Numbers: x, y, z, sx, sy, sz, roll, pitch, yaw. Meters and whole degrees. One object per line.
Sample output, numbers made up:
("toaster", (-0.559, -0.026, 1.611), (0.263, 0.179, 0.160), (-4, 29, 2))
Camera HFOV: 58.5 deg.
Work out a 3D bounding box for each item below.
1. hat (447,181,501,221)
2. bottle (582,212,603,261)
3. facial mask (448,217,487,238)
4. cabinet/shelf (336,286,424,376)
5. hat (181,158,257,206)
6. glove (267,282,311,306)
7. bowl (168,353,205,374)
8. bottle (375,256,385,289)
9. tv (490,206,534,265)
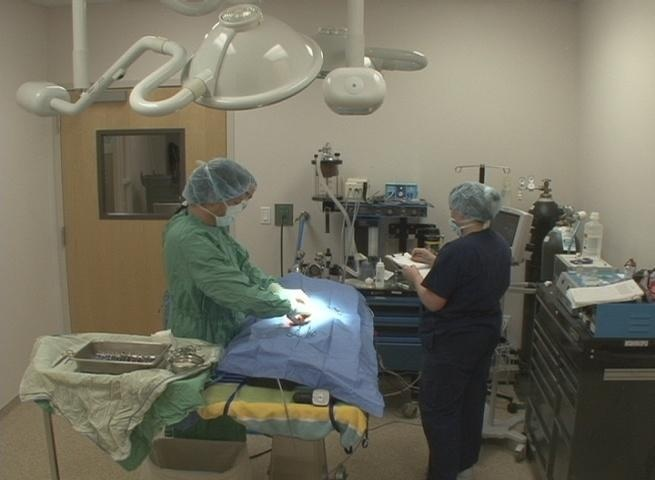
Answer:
("hat", (0.809, -0.213, 3.214), (0.184, 0.187, 0.237), (-1, 3, -27))
("bottle", (1.521, -0.033, 3.364), (0.101, 0.258, 0.203), (2, 7, 23))
("facial mask", (0.780, -0.079, 3.274), (0.133, 0.089, 0.120), (-3, 7, 39))
("cabinet/shelf", (0.347, 0.572, 4.255), (0.779, 0.862, 0.460), (1, 5, 7))
("hat", (-0.551, -0.351, 2.907), (0.243, 0.158, 0.261), (-15, 16, -19))
("glove", (-0.199, 0.293, 3.174), (0.154, 0.057, 0.114), (13, -15, 40))
("bowl", (-0.621, 0.546, 2.594), (0.156, 0.062, 0.120), (-3, 6, -18))
("bottle", (0.377, 0.238, 4.139), (0.074, 0.160, 0.179), (0, 6, 4))
("tv", (1.091, -0.033, 3.487), (0.210, 0.352, 0.333), (11, -1, -9))
